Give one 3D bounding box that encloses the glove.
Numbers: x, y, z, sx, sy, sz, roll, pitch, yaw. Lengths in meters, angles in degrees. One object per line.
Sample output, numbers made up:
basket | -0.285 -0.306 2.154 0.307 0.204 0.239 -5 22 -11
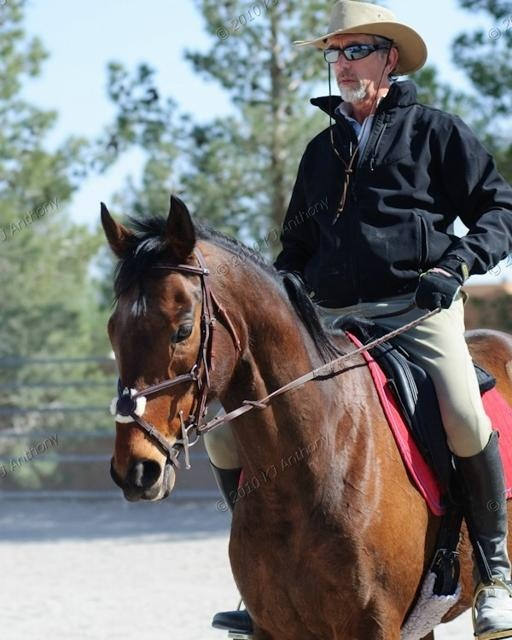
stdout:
glove | 0.825 -0.148 5.378 0.179 0.258 0.104 38 -9 20
